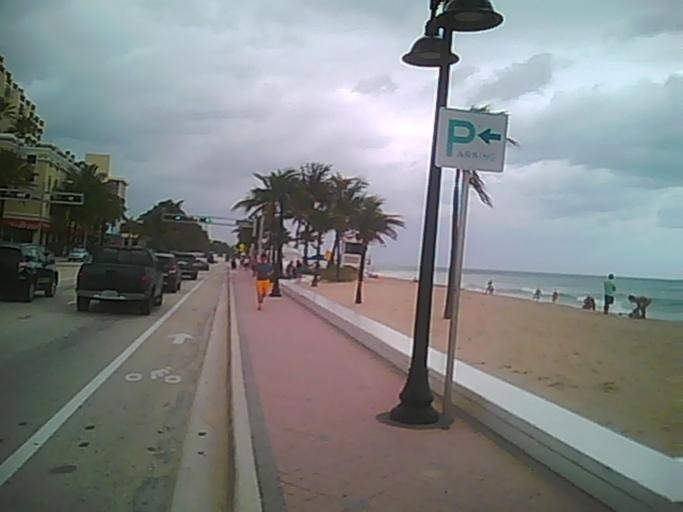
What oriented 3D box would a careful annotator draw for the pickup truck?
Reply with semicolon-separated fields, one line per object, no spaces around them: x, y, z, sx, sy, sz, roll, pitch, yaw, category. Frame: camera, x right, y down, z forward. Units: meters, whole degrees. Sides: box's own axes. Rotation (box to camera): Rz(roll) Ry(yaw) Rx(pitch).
-7.787;0.778;17.164;1.985;1.718;3.920;2;5;-2;pickup truck

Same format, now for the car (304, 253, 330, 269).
-3.039;0.728;58.656;2.319;1.555;3.275;3;5;12;car

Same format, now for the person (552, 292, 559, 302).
17.906;3.506;38.289;0.305;0.963;0.449;-2;-8;-28;person
